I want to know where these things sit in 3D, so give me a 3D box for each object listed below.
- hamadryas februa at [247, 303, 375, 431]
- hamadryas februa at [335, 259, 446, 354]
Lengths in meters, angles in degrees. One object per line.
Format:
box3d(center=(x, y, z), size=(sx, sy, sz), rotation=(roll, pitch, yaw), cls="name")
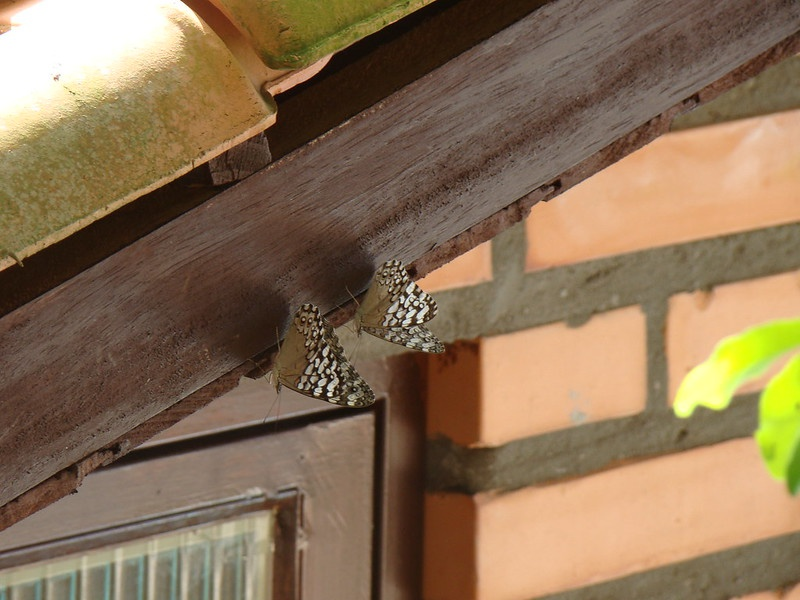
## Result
box3d(center=(-0.107, 0.082, 1.882), size=(0.111, 0.059, 0.166), rotation=(-12, 49, -15), cls="hamadryas februa")
box3d(center=(-0.004, 0.017, 1.945), size=(0.135, 0.083, 0.107), rotation=(-16, 48, 66), cls="hamadryas februa")
